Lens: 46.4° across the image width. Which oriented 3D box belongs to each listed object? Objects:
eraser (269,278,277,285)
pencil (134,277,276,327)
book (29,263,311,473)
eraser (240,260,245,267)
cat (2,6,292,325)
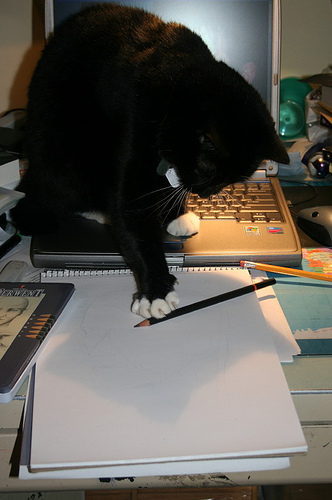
[{"bbox_3d":[0.143,0.040,0.517,0.008,0.008,0.013,2,4,12],"label":"eraser"},{"bbox_3d":[0.055,0.062,0.479,0.204,0.010,0.014,-14,28,-22],"label":"pencil"},{"bbox_3d":[-0.025,0.102,0.428,0.278,0.041,0.283,-2,26,0],"label":"book"},{"bbox_3d":[0.107,0.018,0.547,0.006,0.006,0.011,27,-8,15],"label":"eraser"},{"bbox_3d":[-0.159,-0.144,0.625,0.587,0.290,0.275,8,44,38],"label":"cat"}]
